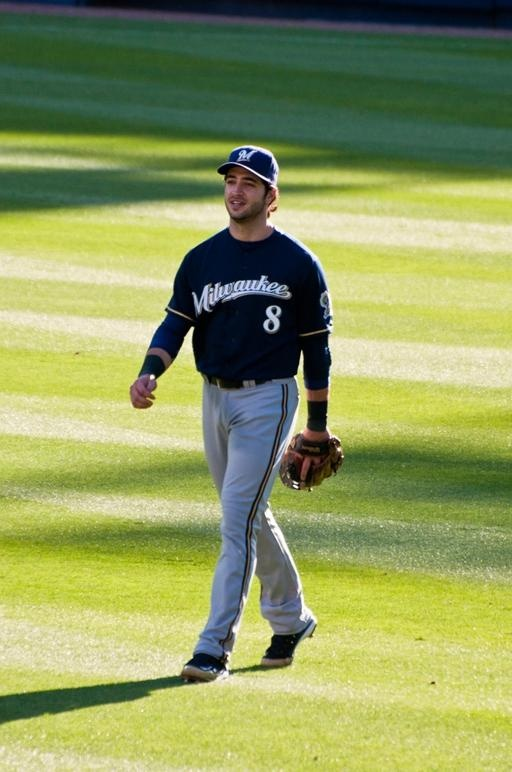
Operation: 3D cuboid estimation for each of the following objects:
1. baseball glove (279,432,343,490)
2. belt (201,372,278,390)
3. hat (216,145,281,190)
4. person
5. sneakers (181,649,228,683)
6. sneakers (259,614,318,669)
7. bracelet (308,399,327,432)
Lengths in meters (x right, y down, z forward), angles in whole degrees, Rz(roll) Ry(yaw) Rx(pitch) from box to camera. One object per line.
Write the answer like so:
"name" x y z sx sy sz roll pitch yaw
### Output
"baseball glove" 0.205 0.295 5.455 0.197 0.120 0.246 16 -35 -2
"belt" -0.091 -0.009 5.172 0.289 0.057 0.080 12 9 29
"hat" 0.000 -0.800 5.228 0.153 0.104 0.202 18 -5 35
"person" -0.012 0.074 5.239 0.785 1.870 0.729 1 11 -39
"sneakers" -0.193 0.974 4.910 0.081 0.068 0.159 -5 -16 23
"sneakers" 0.107 0.974 5.277 0.095 0.122 0.282 -6 22 45
"bracelet" 0.225 0.114 5.276 0.067 0.101 0.066 13 36 13
